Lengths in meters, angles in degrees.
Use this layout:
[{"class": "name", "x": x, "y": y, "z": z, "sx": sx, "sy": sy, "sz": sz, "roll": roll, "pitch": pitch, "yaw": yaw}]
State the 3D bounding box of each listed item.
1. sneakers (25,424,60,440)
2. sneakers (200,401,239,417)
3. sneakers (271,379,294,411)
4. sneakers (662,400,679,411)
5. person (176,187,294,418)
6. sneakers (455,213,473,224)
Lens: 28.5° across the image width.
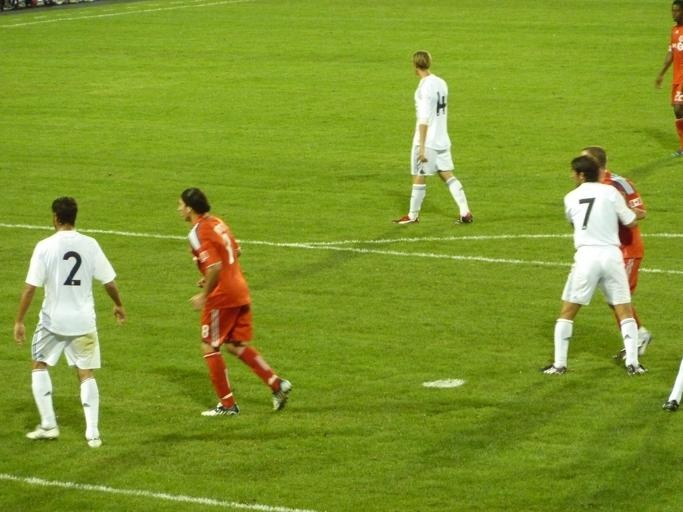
[{"class": "sneakers", "x": -3.590, "y": 2.106, "z": 16.062, "sx": 0.338, "sy": 0.121, "sz": 0.173, "roll": 4, "pitch": 2, "yaw": 1}, {"class": "sneakers", "x": -1.479, "y": 1.882, "z": 16.469, "sx": 0.513, "sy": 0.179, "sz": 0.170, "roll": 1, "pitch": -1, "yaw": 2}, {"class": "sneakers", "x": -0.731, "y": 1.707, "z": 16.431, "sx": 0.229, "sy": 0.439, "sz": 0.159, "roll": 3, "pitch": 33, "yaw": -4}, {"class": "sneakers", "x": 4.031, "y": 1.832, "z": 16.361, "sx": 0.125, "sy": 0.065, "sz": 0.178, "roll": -1, "pitch": 0, "yaw": -12}, {"class": "person", "x": -1.340, "y": 0.564, "z": 16.352, "sx": 1.118, "sy": 2.777, "sz": 0.706, "roll": -4, "pitch": 13, "yaw": 9}, {"class": "sneakers", "x": 2.049, "y": -0.621, "z": 22.321, "sx": 0.227, "sy": 0.202, "sz": 0.138, "roll": 1, "pitch": 17, "yaw": 17}]
